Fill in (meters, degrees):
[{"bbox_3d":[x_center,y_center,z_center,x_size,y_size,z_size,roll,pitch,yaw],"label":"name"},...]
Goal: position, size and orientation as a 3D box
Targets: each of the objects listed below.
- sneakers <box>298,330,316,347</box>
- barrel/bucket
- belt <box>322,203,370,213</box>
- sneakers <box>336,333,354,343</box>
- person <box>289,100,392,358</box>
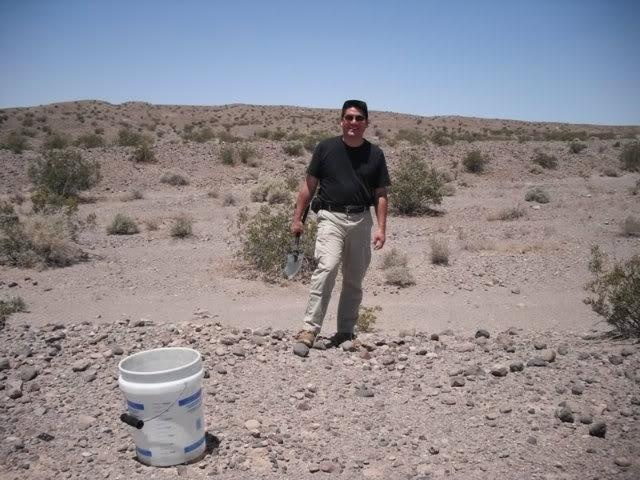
[{"bbox_3d":[-0.159,1.155,5.953,0.208,0.226,0.243,0,11,3],"label":"sneakers"},{"bbox_3d":[-1.320,1.451,4.395,0.785,0.793,0.812,-5,1,0],"label":"barrel/bucket"},{"bbox_3d":[0.276,-0.368,5.985,0.564,0.112,0.182,0,11,1],"label":"belt"},{"bbox_3d":[0.303,1.190,6.288,0.200,0.117,0.159,1,-4,-12],"label":"sneakers"},{"bbox_3d":[0.252,-0.128,6.060,1.156,2.937,0.792,-9,14,-38],"label":"person"}]
